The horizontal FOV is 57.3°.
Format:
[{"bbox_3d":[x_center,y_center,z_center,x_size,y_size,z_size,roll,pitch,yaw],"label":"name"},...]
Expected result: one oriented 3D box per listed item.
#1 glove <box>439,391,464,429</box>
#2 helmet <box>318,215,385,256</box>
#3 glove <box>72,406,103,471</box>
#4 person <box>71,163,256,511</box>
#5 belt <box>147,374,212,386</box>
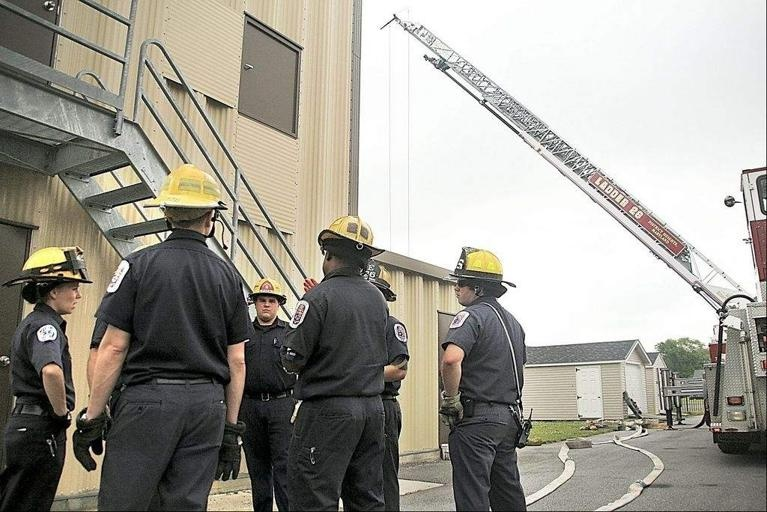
[{"bbox_3d":[0.724,1.598,7.297,0.254,0.360,0.221,0,1,45],"label":"glove"},{"bbox_3d":[-0.362,-0.267,7.101,0.489,0.253,0.460,6,-11,34],"label":"helmet"},{"bbox_3d":[-2.698,1.631,6.380,0.260,0.544,0.409,10,-30,-38],"label":"glove"},{"bbox_3d":[-1.988,0.715,6.493,1.437,3.171,0.614,-1,-14,-14],"label":"person"},{"bbox_3d":[-1.826,1.112,6.298,0.590,0.107,0.072,-2,-14,-14],"label":"belt"}]
